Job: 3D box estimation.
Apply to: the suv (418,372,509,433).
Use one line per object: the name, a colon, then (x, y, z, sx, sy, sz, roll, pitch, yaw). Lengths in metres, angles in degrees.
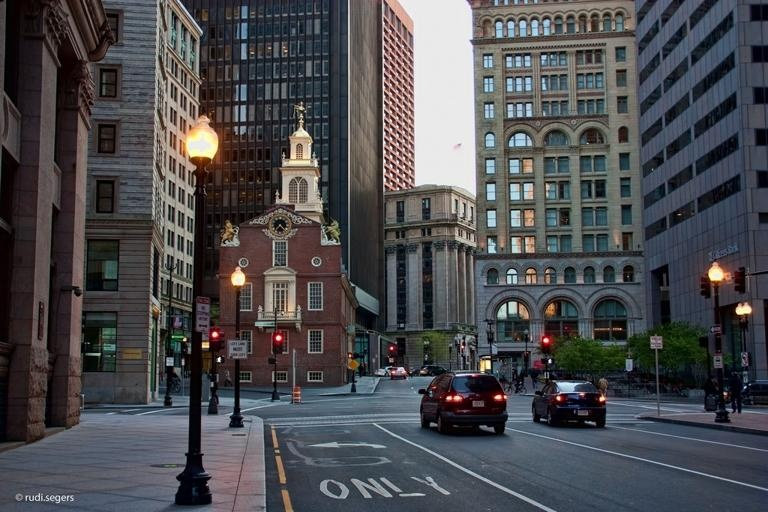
suv: (3.453, 6.872, 45.074, 2.359, 2.887, 4.012, 8, -14, -35)
